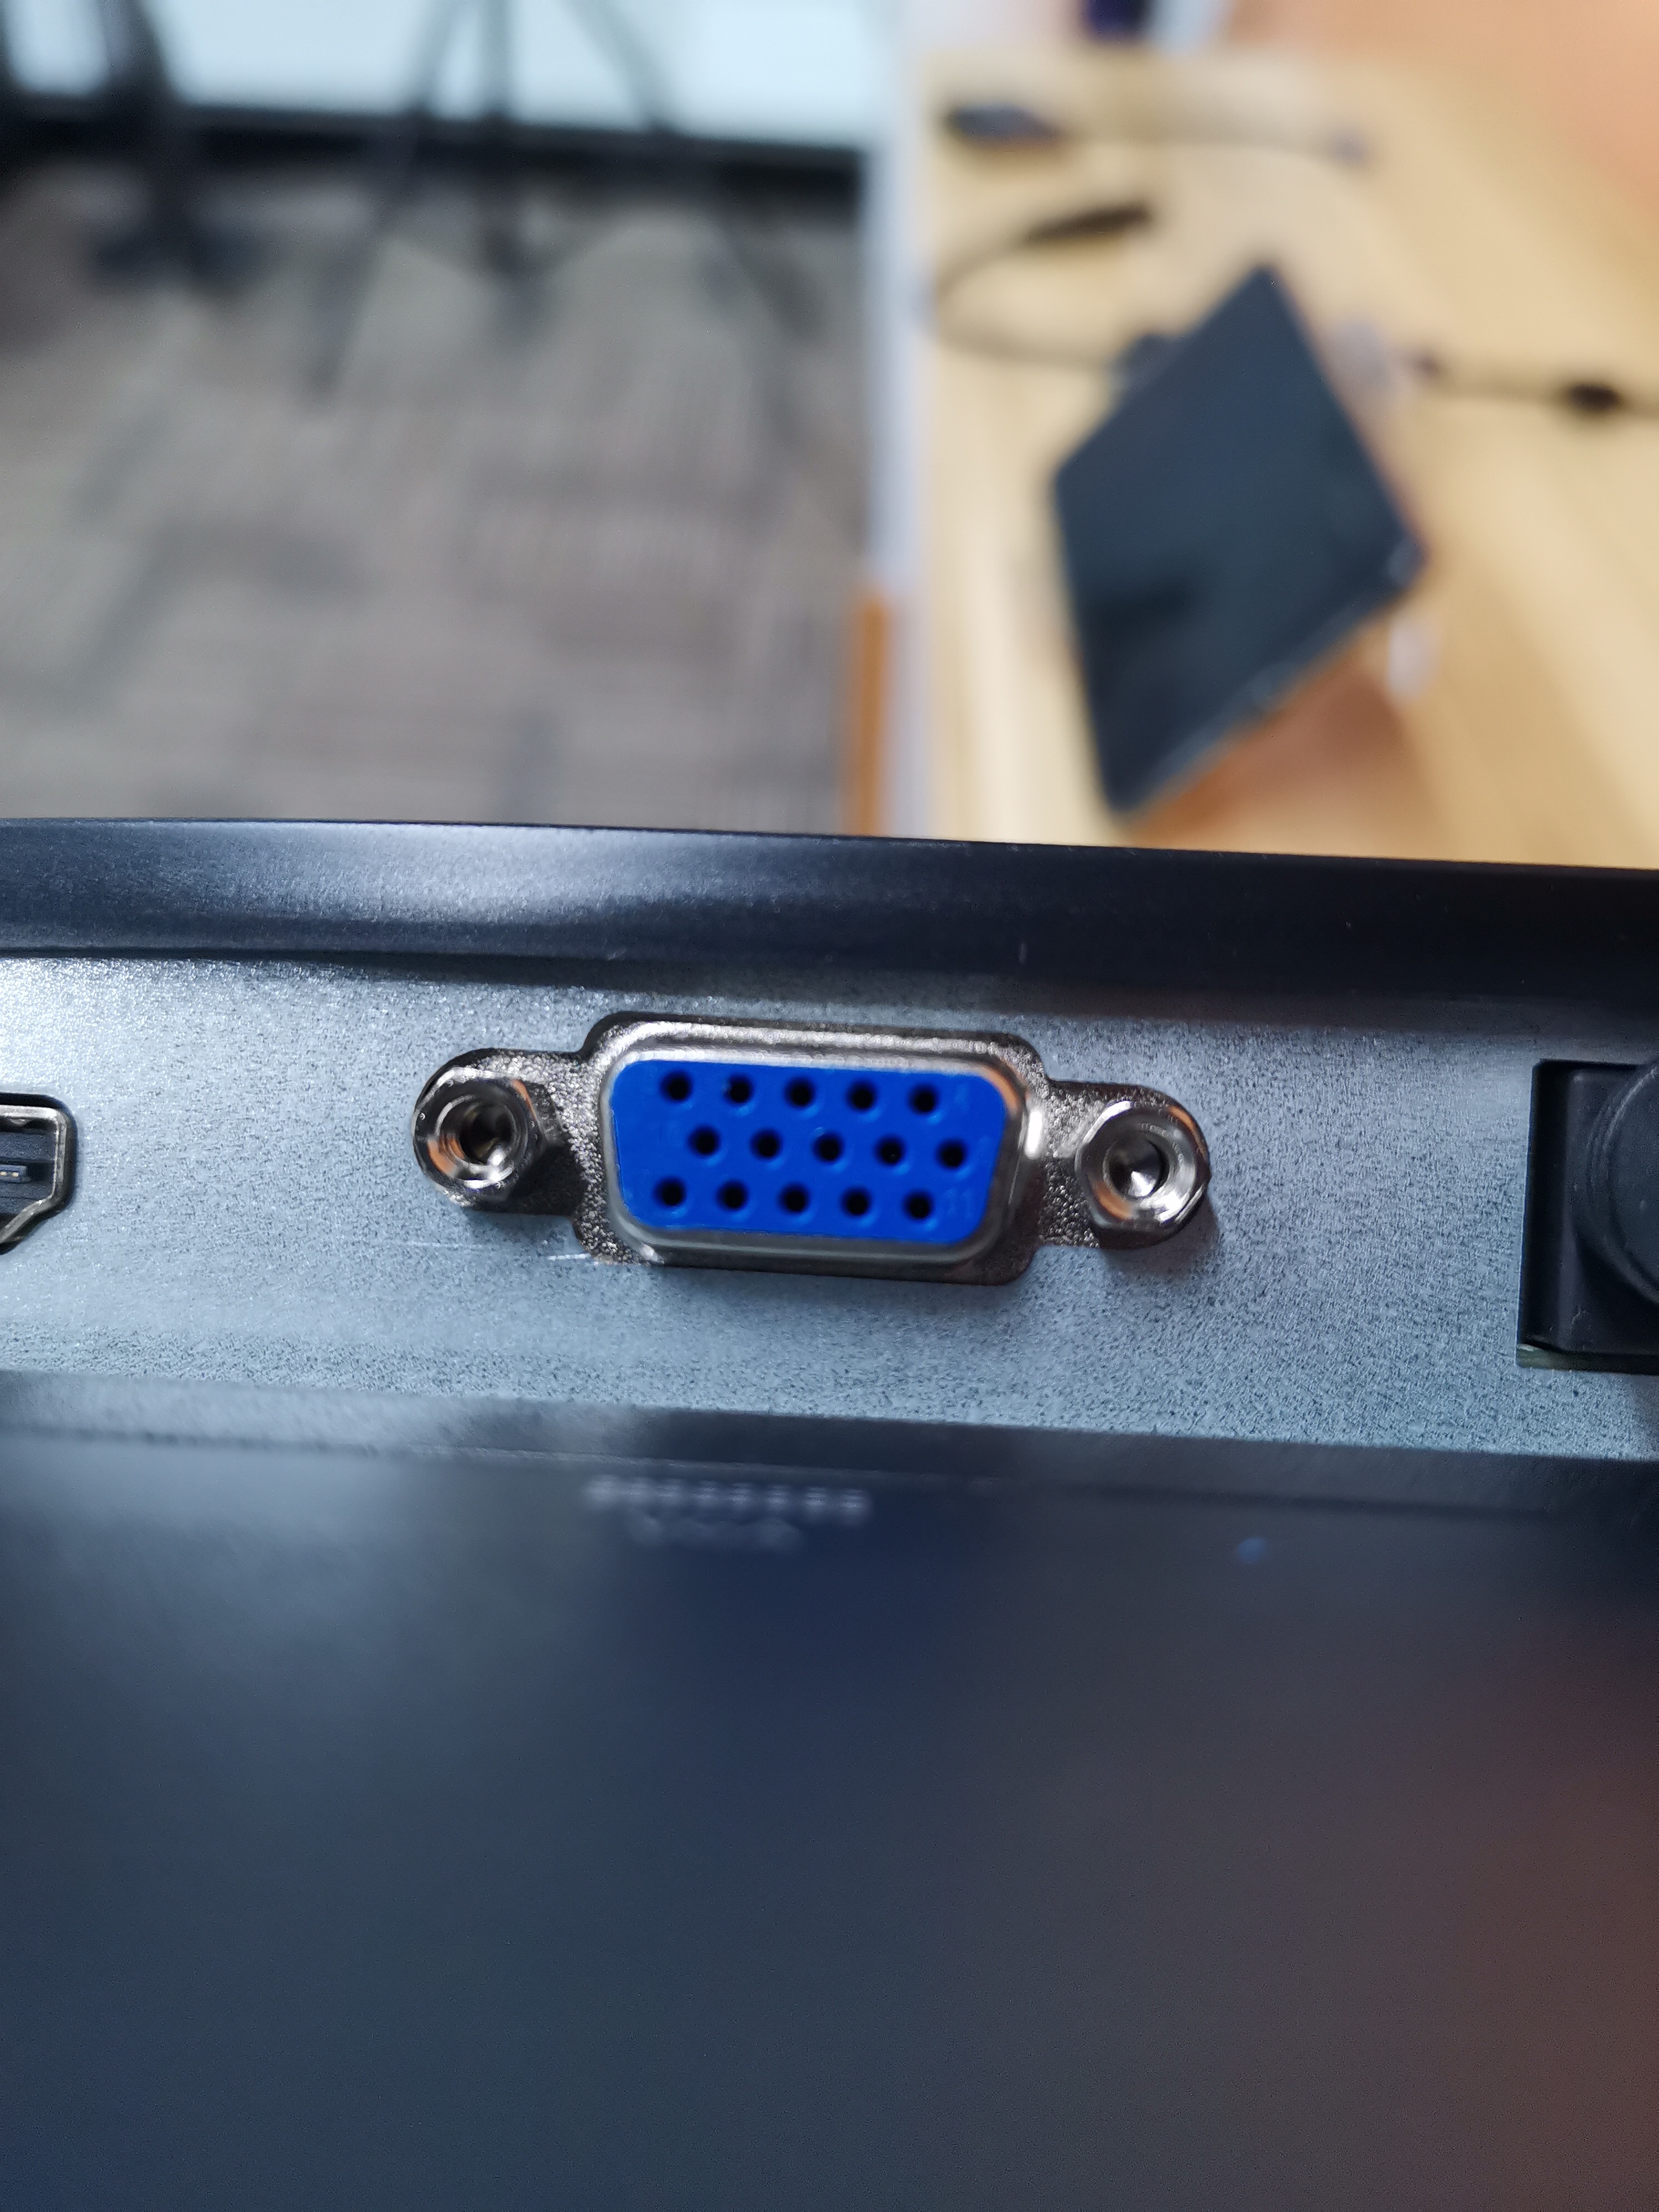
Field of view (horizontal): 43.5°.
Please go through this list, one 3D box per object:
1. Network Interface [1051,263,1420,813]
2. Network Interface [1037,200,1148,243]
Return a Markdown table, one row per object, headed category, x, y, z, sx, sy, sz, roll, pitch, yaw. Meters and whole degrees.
| category | x | y | z | sx | sy | sz | roll | pitch | yaw |
| --- | --- | --- | --- | --- | --- | --- | --- | --- | --- |
| Network Interface | 0.105 | -0.157 | 0.550 | 0.082 | 0.104 | 0.069 | -17 | 42 | -23 |
| Network Interface | 0.072 | -0.232 | 0.551 | 0.022 | 0.005 | 0.012 | -6 | 75 | 0 |
